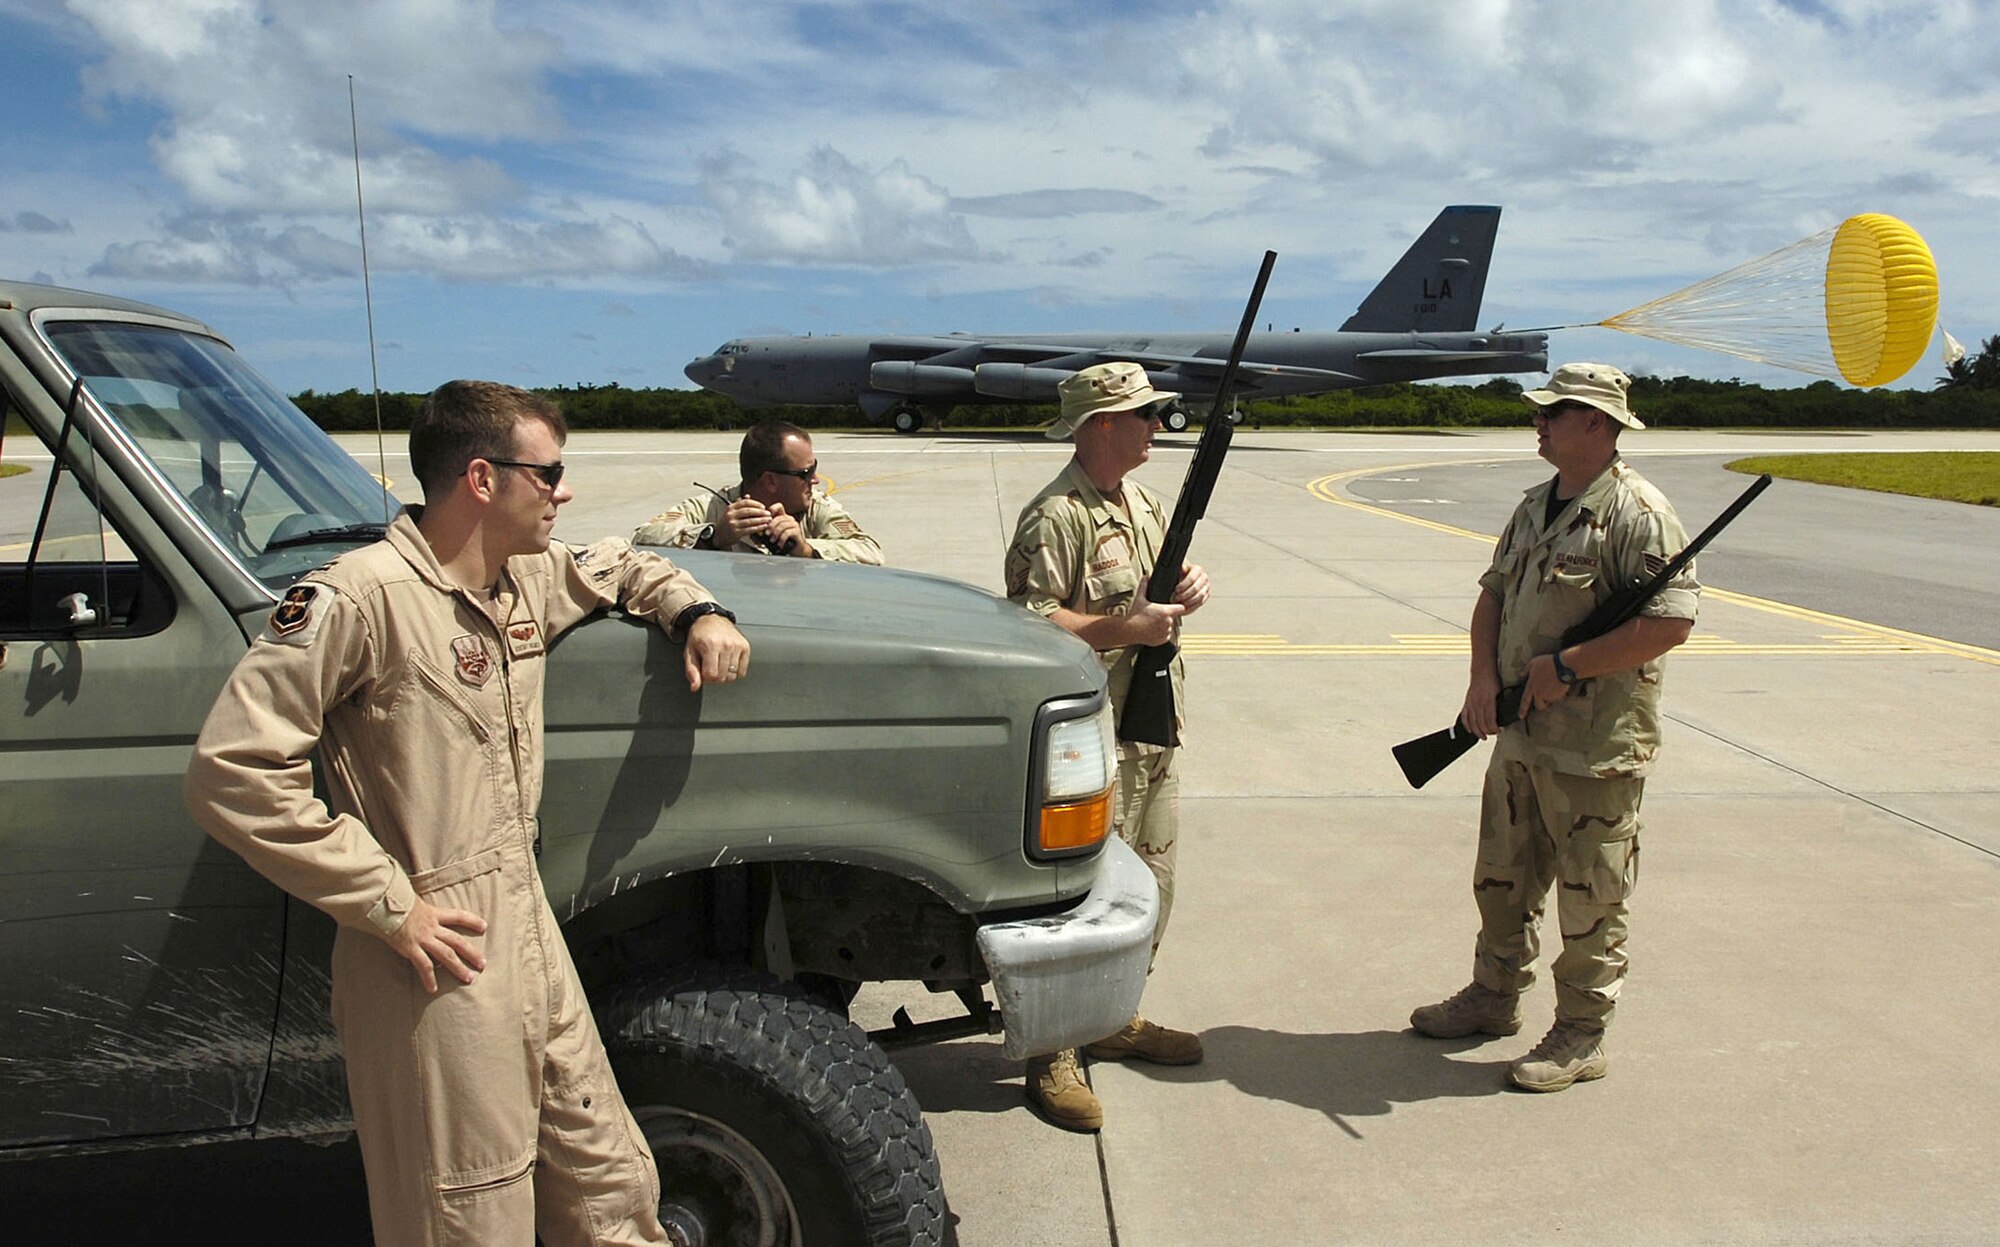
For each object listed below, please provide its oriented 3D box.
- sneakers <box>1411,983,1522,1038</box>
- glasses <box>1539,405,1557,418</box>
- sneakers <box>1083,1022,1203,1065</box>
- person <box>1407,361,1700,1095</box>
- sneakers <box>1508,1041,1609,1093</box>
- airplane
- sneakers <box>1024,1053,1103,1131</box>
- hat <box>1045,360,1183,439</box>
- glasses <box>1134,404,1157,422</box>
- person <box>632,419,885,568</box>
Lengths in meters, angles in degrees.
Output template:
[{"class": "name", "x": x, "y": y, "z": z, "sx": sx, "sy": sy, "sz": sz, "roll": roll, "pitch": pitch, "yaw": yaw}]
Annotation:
[{"class": "sneakers", "x": 1.819, "y": 1.504, "z": 5.292, "sx": 0.504, "sy": 0.192, "sz": 0.171, "roll": 2, "pitch": 1, "yaw": -4}, {"class": "glasses", "x": 2.025, "y": -0.776, "z": 4.973, "sx": 0.045, "sy": 0.019, "sz": 0.034, "roll": -1, "pitch": -3, "yaw": 32}, {"class": "sneakers", "x": 0.575, "y": 1.564, "z": 5.168, "sx": 0.539, "sy": 0.180, "sz": 0.191, "roll": -1, "pitch": 3, "yaw": 4}, {"class": "person", "x": 2.069, "y": 0.544, "z": 5.020, "sx": 0.756, "sy": 2.174, "sz": 0.978, "roll": 7, "pitch": 18, "yaw": 24}, {"class": "sneakers", "x": 2.033, "y": 1.608, "z": 4.994, "sx": 0.409, "sy": 0.156, "sz": 0.149, "roll": -3, "pitch": 4, "yaw": -12}, {"class": "airplane", "x": 3.454, "y": -7.953, "z": 40.515, "sx": 21.950, "sy": 5.284, "sz": 15.082, "roll": 1, "pitch": 9, "yaw": 2}, {"class": "sneakers", "x": 0.227, "y": 1.636, "z": 4.721, "sx": 0.154, "sy": 0.202, "sz": 0.376, "roll": 0, "pitch": -7, "yaw": -20}, {"class": "hat", "x": 0.413, "y": -0.779, "z": 4.939, "sx": 0.381, "sy": 0.120, "sz": 0.311, "roll": -18, "pitch": 10, "yaw": 11}, {"class": "glasses", "x": 0.541, "y": -0.770, "z": 4.955, "sx": 0.069, "sy": 0.027, "sz": 0.083, "roll": -1, "pitch": 1, "yaw": 5}, {"class": "person", "x": -0.923, "y": -0.526, "z": 5.507, "sx": 1.068, "sy": 0.428, "sz": 0.591, "roll": 9, "pitch": 14, "yaw": 10}]
